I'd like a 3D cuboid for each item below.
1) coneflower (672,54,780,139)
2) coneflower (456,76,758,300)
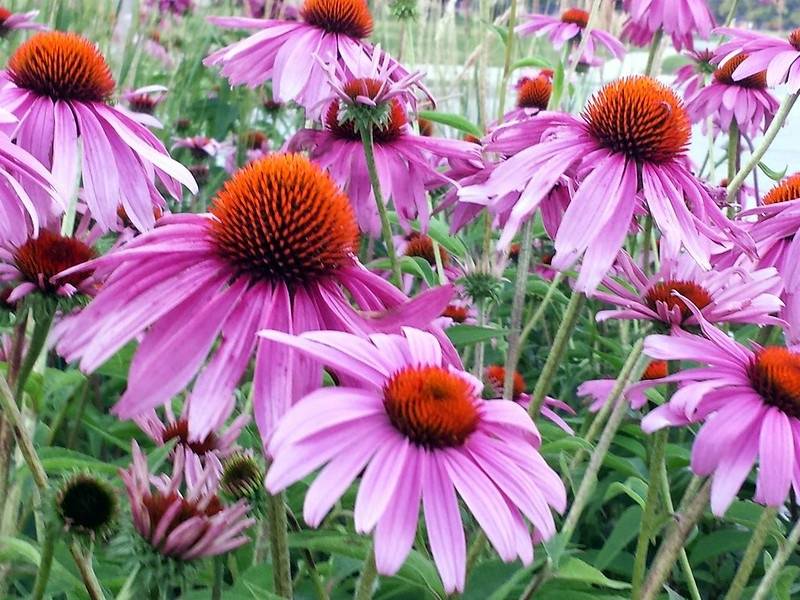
[{"bbox_3d":[1.426,-0.848,3.476,0.299,0.393,0.184,-1,-16,-10],"label":"coneflower"},{"bbox_3d":[0.550,-0.334,2.203,0.630,0.369,0.636,-12,36,-43],"label":"coneflower"}]
